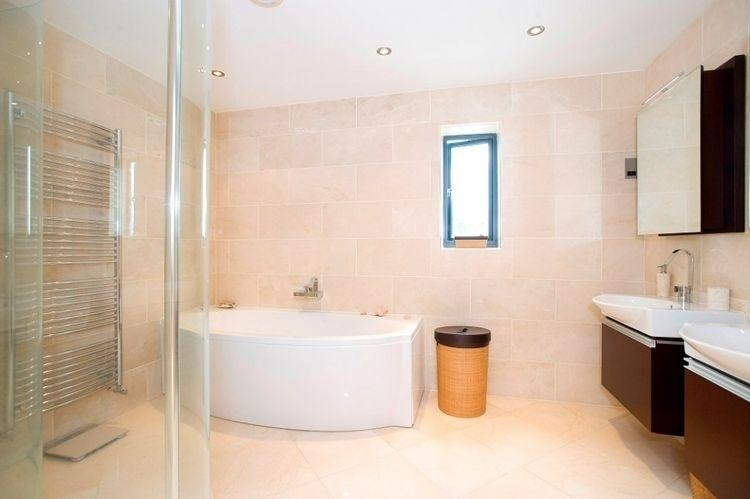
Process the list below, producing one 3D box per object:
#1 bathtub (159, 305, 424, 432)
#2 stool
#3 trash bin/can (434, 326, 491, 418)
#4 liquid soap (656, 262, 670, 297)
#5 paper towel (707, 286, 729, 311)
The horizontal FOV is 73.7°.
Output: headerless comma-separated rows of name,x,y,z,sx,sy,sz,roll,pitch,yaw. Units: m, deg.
bathtub,-0.518,0.769,3.539,1.664,0.582,0.941,2,9,11
stool,0.588,0.832,3.387,0.358,0.537,0.245,1,9,6
trash bin/can,0.588,0.832,3.387,0.358,0.537,0.245,1,9,6
liquid soap,1.818,0.170,3.147,0.071,0.070,0.184,10,41,21
paper towel,1.809,0.257,2.628,0.112,0.120,0.109,3,-4,-25
